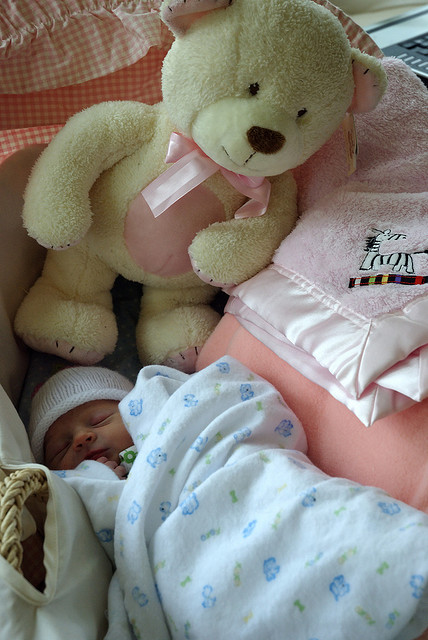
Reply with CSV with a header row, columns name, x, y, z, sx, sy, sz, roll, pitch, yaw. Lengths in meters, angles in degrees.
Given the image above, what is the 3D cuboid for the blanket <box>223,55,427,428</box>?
name,x,y,z,sx,sy,sz,roll,pitch,yaw
blanket,0.230,-0.125,0.932,0.436,0.145,0.472,34,79,0
